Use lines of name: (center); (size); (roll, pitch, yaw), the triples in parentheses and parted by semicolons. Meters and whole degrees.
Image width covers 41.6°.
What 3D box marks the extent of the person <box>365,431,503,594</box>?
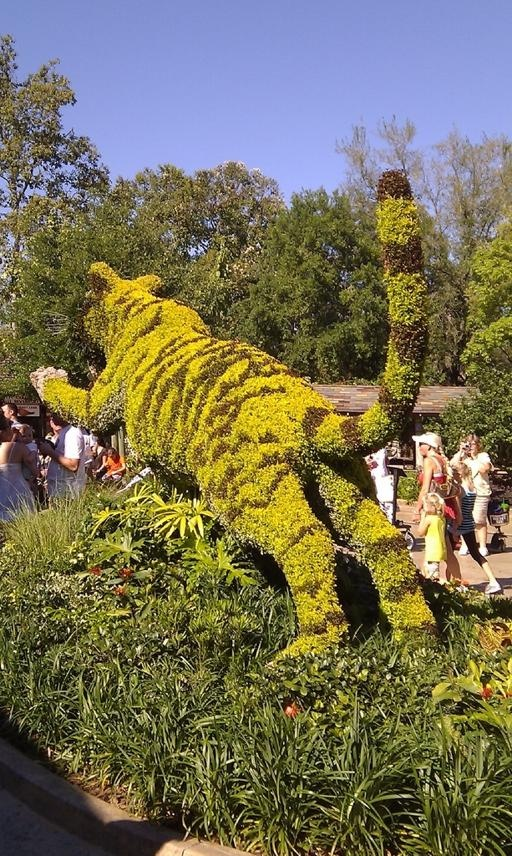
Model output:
person: (2.177, 0.959, 7.809); (0.749, 2.303, 1.561); (-34, 29, -32)
